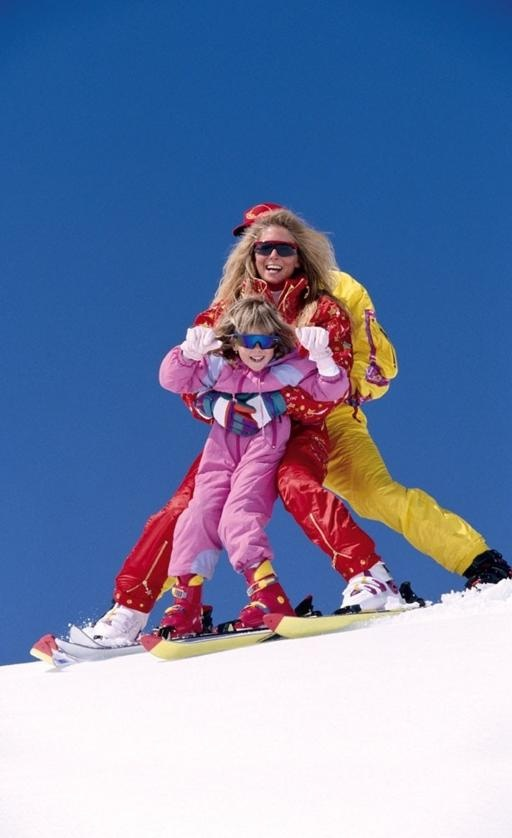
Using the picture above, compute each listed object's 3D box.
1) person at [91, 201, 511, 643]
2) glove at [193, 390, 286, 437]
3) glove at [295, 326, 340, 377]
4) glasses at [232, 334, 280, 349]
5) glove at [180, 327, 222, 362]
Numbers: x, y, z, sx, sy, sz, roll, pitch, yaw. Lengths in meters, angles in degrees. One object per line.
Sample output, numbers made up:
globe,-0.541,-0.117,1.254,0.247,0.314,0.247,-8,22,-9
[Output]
person,0.058,0.313,3.921,1.643,1.662,1.006,20,-36,-30
glove,-0.037,-0.023,3.041,0.168,0.167,0.070,19,-51,27
glove,0.179,-0.196,2.998,0.094,0.065,0.161,-7,-55,28
glasses,0.005,-0.226,3.039,0.127,0.054,0.108,-8,7,-4
glove,-0.163,-0.222,3.038,0.120,0.101,0.188,-8,7,-1
